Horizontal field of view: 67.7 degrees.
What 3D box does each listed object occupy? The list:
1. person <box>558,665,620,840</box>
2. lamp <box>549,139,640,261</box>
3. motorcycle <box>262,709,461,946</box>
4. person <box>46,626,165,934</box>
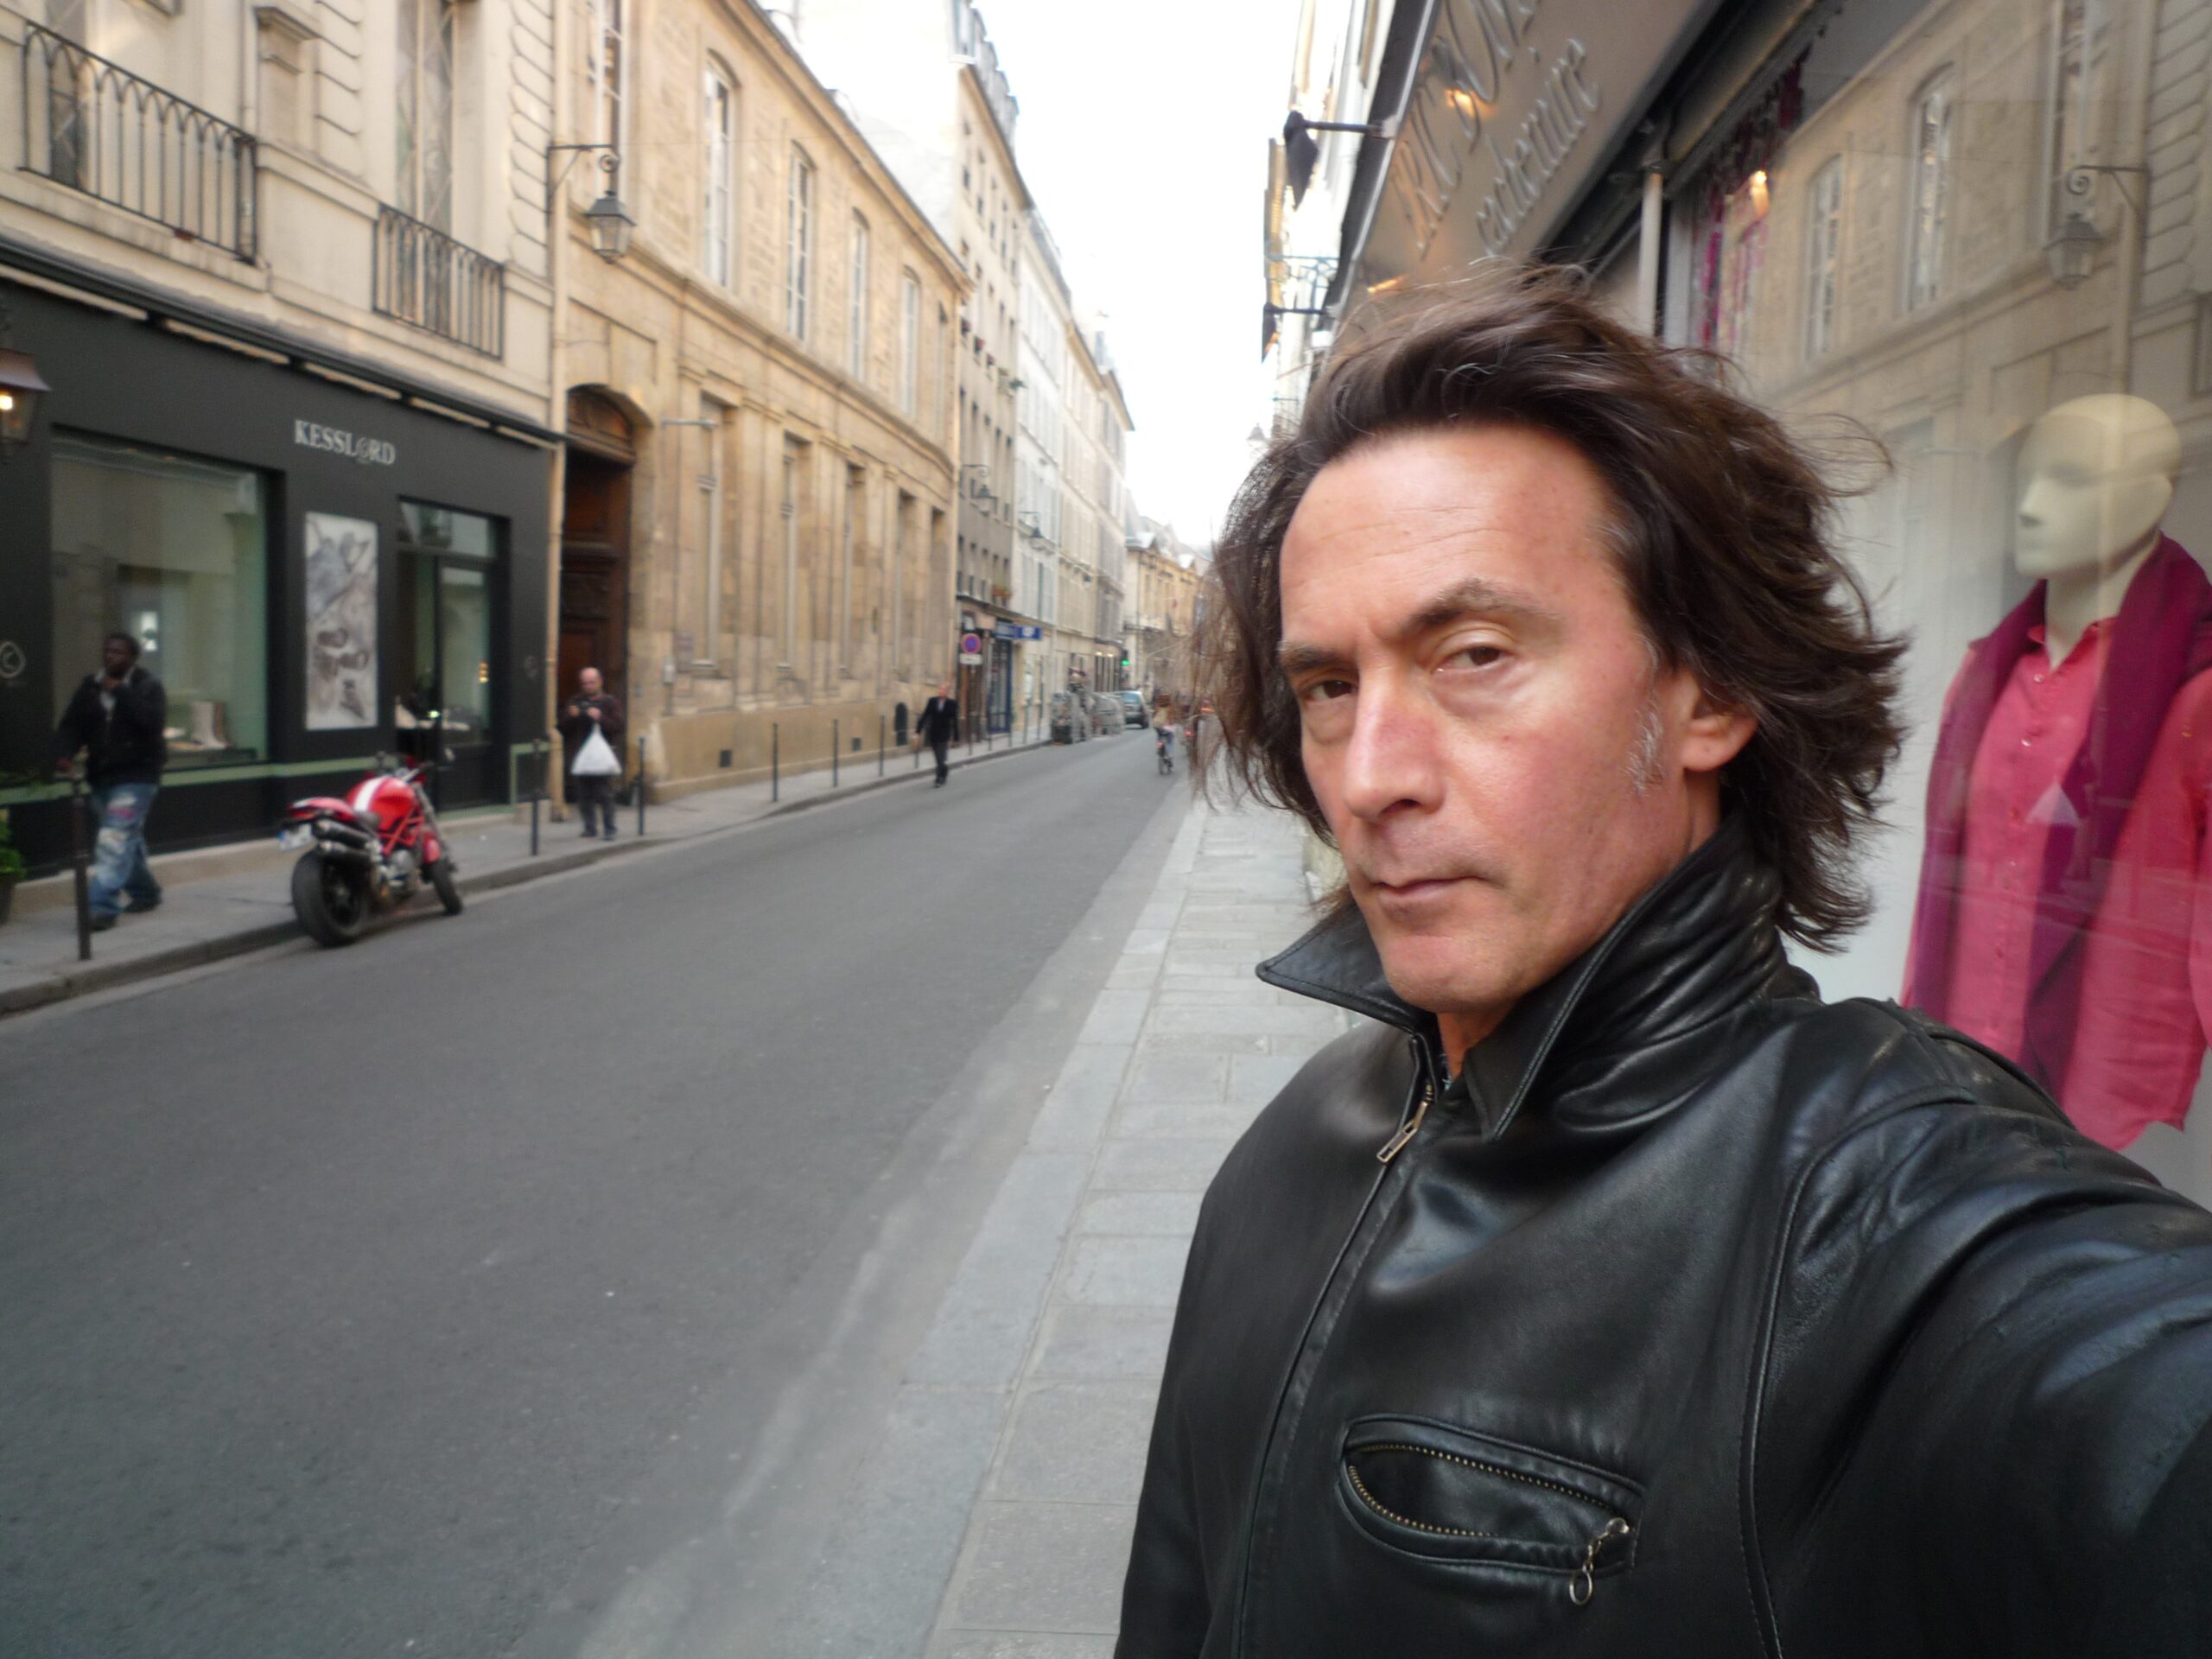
[{"bbox_3d":[-5.191,-0.813,16.631,0.500,1.635,1.225,0,5,-18],"label":"person"},{"bbox_3d":[-5.544,-6.866,17.884,0.709,1.522,0.465,-2,-17,-18],"label":"lamp"},{"bbox_3d":[-4.695,0.048,10.744,0.698,1.230,1.945,-6,5,4],"label":"motorcycle"},{"bbox_3d":[-6.169,-0.345,10.241,0.542,1.736,1.085,-1,5,-29],"label":"person"}]
